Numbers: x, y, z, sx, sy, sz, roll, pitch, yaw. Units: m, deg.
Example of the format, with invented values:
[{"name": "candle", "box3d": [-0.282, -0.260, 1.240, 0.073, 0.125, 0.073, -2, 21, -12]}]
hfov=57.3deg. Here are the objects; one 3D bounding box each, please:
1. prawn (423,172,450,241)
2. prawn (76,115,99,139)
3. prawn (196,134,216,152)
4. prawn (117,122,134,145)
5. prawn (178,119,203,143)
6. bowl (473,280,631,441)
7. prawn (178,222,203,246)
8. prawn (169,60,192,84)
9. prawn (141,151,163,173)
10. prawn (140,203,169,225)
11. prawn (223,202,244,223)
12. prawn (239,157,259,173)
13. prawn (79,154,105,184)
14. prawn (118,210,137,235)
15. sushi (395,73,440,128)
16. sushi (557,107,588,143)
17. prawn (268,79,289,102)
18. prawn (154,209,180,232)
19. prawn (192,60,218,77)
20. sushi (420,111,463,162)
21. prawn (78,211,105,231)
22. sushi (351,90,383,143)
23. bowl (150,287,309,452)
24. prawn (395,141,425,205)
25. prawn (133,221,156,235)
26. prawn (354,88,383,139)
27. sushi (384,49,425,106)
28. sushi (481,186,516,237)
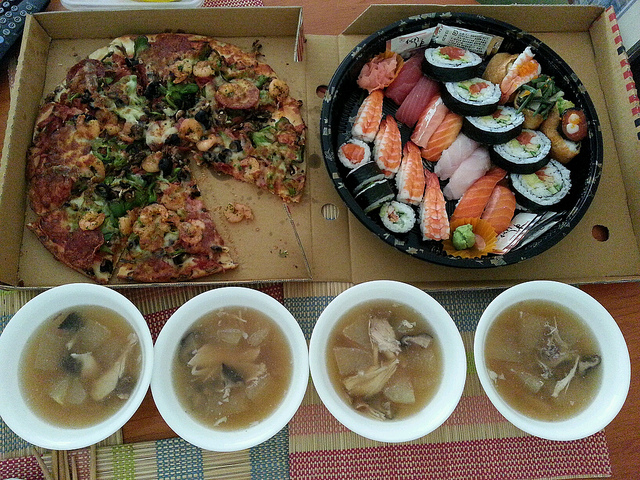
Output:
[{"name": "prawn", "box3d": [0.714, -0.222, 3.672, 0.168, 0.122, 0.437, -5, 79, -1]}, {"name": "prawn", "box3d": [-1.474, -0.711, 3.701, 0.146, 0.049, 0.136, 22, 80, 5]}, {"name": "prawn", "box3d": [-0.725, -0.621, 3.710, 0.093, 0.033, 0.098, 23, 70, 25]}, {"name": "prawn", "box3d": [-1.236, -0.677, 3.709, 0.094, 0.044, 0.139, 10, 94, -6]}, {"name": "prawn", "box3d": [-0.820, -0.698, 3.706, 0.141, 0.076, 0.132, 16, 79, 4]}, {"name": "bowl", "box3d": [1.274, 0.666, 3.238, 0.833, 0.201, 0.889, 0, 79, 0]}, {"name": "prawn", "box3d": [-0.809, -0.040, 3.630, 0.160, 0.026, 0.115, 21, 80, 4]}, {"name": "prawn", "box3d": [-0.895, -1.088, 3.756, 0.126, 0.054, 0.138, -15, 85, -8]}, {"name": "prawn", "box3d": [-1.054, -0.489, 3.686, 0.136, 0.042, 0.113, -9, 79, -1]}, {"name": "prawn", "box3d": [-1.033, -0.165, 3.611, 0.173, 0.046, 0.113, -18, 79, -3]}, {"name": "prawn", "box3d": [-0.550, -0.172, 3.707, 0.143, 0.055, 0.113, 25, 80, 5]}, {"name": "prawn", "box3d": [-0.444, -0.487, 3.719, 0.121, 0.022, 0.092, 37, 81, 7]}, {"name": "prawn", "box3d": [-1.416, -0.464, 3.658, 0.116, 0.067, 0.206, -28, 80, -5]}, {"name": "prawn", "box3d": [-1.200, -0.111, 3.635, 0.092, 0.051, 0.150, 18, 79, 4]}, {"name": "sushi", "box3d": [0.647, -0.885, 3.868, 0.194, 0.128, 0.375, 30, 102, 14]}, {"name": "sushi", "box3d": [1.595, -0.723, 3.685, 0.170, 0.059, 0.207, 0, 79, 0]}, {"name": "prawn", "box3d": [-0.266, -0.978, 3.786, 0.126, 0.043, 0.135, -25, 97, -17]}, {"name": "prawn", "box3d": [-0.951, -0.120, 3.628, 0.128, 0.048, 0.134, -23, 97, -16]}, {"name": "prawn", "box3d": [-0.746, -1.105, 3.753, 0.113, 0.044, 0.101, -16, 85, -7]}, {"name": "sushi", "box3d": [0.791, -0.668, 3.783, 0.189, 0.097, 0.335, 30, 108, 2]}, {"name": "prawn", "box3d": [-1.414, -0.121, 3.613, 0.142, 0.058, 0.122, -3, 79, 0]}, {"name": "sushi", "box3d": [0.310, -0.778, 3.780, 0.138, 0.083, 0.364, 19, 75, -1]}, {"name": "bowl", "box3d": [-0.519, 0.716, 3.318, 0.893, 0.231, 0.971, 2, 54, -3]}, {"name": "prawn", "box3d": [0.579, -0.412, 3.671, 0.114, 0.308, 0.248, -12, 41, -23]}, {"name": "prawn", "box3d": [-1.086, -0.072, 3.610, 0.131, 0.038, 0.083, 5, 79, 1]}, {"name": "prawn", "box3d": [0.323, -0.830, 3.746, 0.172, 0.498, 0.123, -9, 59, -9]}, {"name": "sushi", "box3d": [0.560, -1.049, 3.856, 0.185, 0.118, 0.416, 32, 93, 13]}, {"name": "sushi", "box3d": [1.134, -0.180, 3.668, 0.158, 0.084, 0.307, 11, 84, 1]}]
